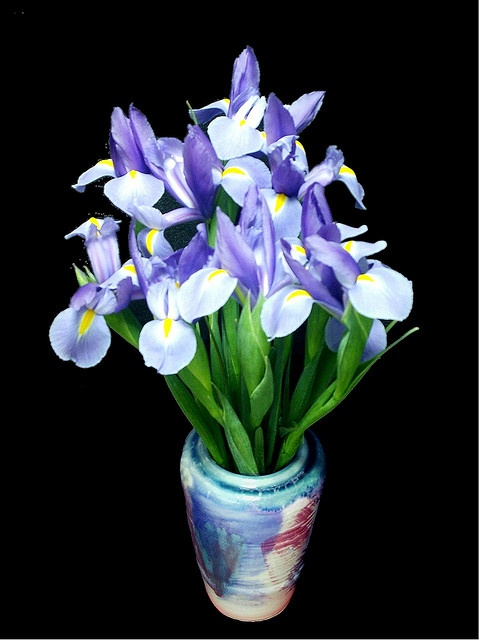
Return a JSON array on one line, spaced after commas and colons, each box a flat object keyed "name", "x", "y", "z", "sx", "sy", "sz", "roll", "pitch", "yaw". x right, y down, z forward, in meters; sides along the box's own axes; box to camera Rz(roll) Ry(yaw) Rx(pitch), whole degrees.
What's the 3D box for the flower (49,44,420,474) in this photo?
[{"name": "flower", "x": 0.034, "y": -0.002, "z": 1.595, "sx": 0.508, "sy": 0.898, "sz": 0.815, "roll": 15, "pitch": 33, "yaw": 22}]
